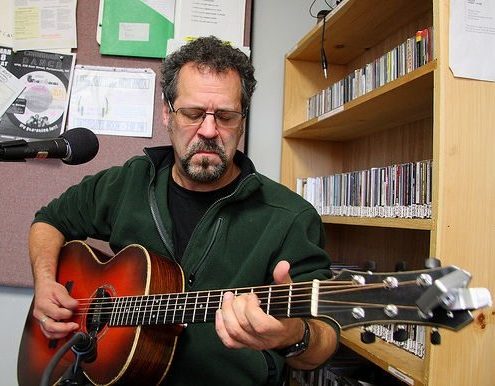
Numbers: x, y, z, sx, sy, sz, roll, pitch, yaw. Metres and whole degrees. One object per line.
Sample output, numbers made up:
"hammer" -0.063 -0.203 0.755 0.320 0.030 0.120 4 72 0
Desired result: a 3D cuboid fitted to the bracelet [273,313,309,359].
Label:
"bracelet" 0.138 0.420 1.333 0.102 0.042 0.100 -32 4 -43
